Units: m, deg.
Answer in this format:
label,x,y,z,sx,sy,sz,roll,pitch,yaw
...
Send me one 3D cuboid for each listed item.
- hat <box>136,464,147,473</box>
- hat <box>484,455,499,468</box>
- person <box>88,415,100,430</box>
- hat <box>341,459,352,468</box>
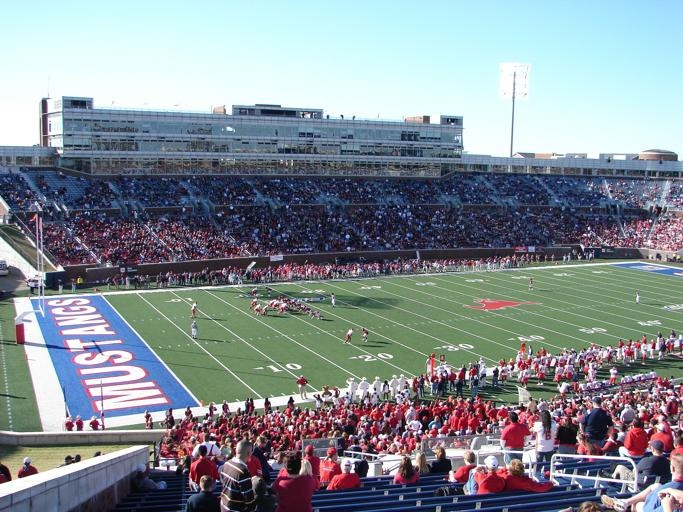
label,x,y,z,sx,sy,sz,roll,pitch,yaw
hat,-5.334,5.645,25.396,0.198,0.177,0.193,2,13,23
hat,3.566,4.934,22.770,0.336,0.259,0.455,0,11,6
person,-8.854,5.970,34.188,0.428,0.739,0.266,0,16,-12
hat,0.121,5.171,23.882,0.235,0.169,0.298,3,-13,-5
